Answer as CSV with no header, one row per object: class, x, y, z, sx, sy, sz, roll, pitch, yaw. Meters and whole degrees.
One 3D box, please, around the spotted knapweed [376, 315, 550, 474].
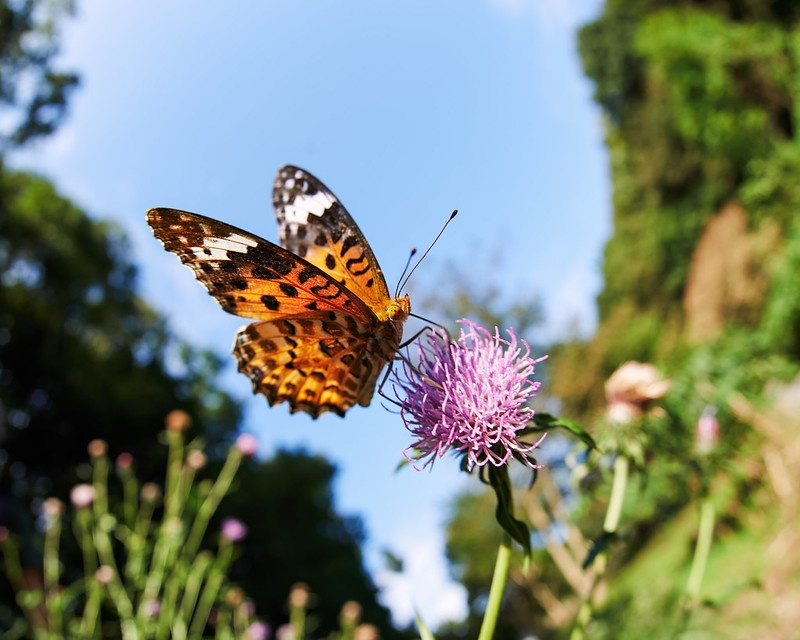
spotted knapweed,0.452,0.501,6.237,0.911,0.997,0.762,-19,-56,25
